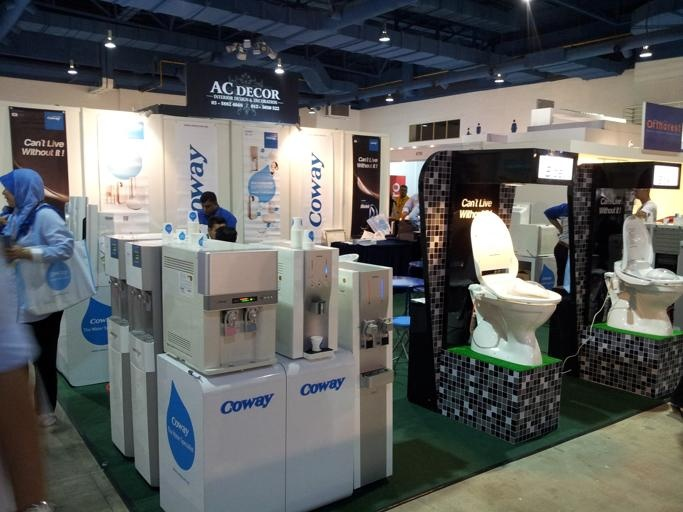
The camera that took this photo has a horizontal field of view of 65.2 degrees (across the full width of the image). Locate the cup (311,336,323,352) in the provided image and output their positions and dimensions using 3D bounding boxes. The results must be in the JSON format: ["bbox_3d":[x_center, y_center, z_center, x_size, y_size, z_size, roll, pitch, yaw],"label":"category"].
[{"bbox_3d":[-0.156,0.530,3.248,0.087,0.085,0.082,1,2,0],"label":"cup"}]

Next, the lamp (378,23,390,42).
[{"bbox_3d":[0.726,-3.810,8.995,0.181,0.326,0.630,2,12,5],"label":"lamp"}]

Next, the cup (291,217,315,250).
[{"bbox_3d":[-0.216,-0.140,3.401,0.224,0.225,0.124,2,-1,-43],"label":"cup"}]

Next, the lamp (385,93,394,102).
[{"bbox_3d":[1.292,-4.394,14.598,0.219,0.248,0.240,-1,-8,4],"label":"lamp"}]
